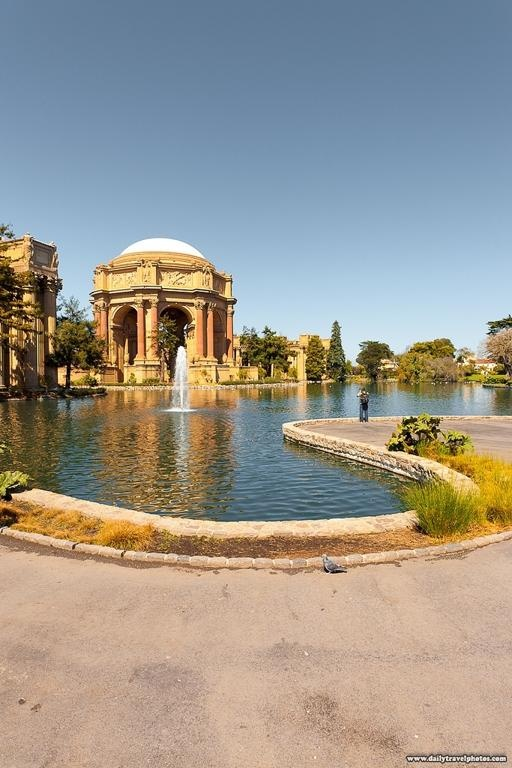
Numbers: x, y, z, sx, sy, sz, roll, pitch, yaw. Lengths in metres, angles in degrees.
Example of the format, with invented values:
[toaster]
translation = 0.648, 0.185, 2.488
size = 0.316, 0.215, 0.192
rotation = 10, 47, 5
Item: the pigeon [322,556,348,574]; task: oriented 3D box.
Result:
[pigeon]
translation = 0.856, 1.994, 6.366
size = 0.103, 0.203, 0.317
rotation = -8, -13, -31
